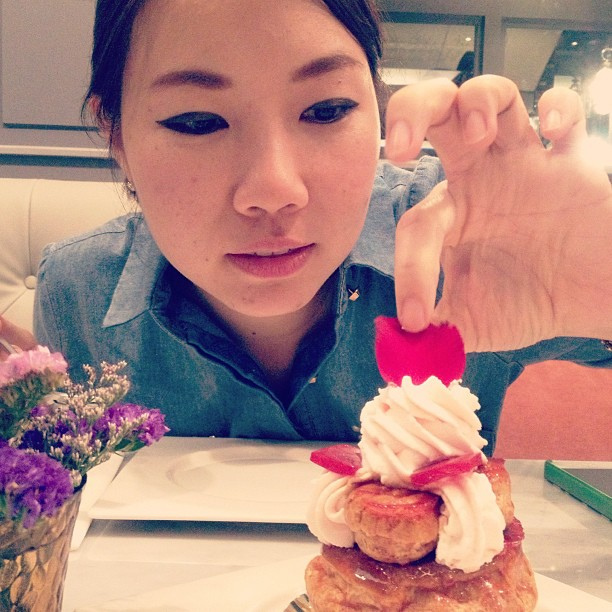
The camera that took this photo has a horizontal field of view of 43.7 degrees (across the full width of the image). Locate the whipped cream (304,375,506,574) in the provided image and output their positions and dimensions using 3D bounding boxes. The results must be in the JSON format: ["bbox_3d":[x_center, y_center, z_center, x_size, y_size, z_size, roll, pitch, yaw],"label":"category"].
[{"bbox_3d":[0.171,0.197,1.173,0.307,0.251,0.251,12,12,11],"label":"whipped cream"}]

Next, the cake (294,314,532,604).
[{"bbox_3d":[0.176,0.234,1.127,0.325,0.391,0.326,4,15,16],"label":"cake"}]
